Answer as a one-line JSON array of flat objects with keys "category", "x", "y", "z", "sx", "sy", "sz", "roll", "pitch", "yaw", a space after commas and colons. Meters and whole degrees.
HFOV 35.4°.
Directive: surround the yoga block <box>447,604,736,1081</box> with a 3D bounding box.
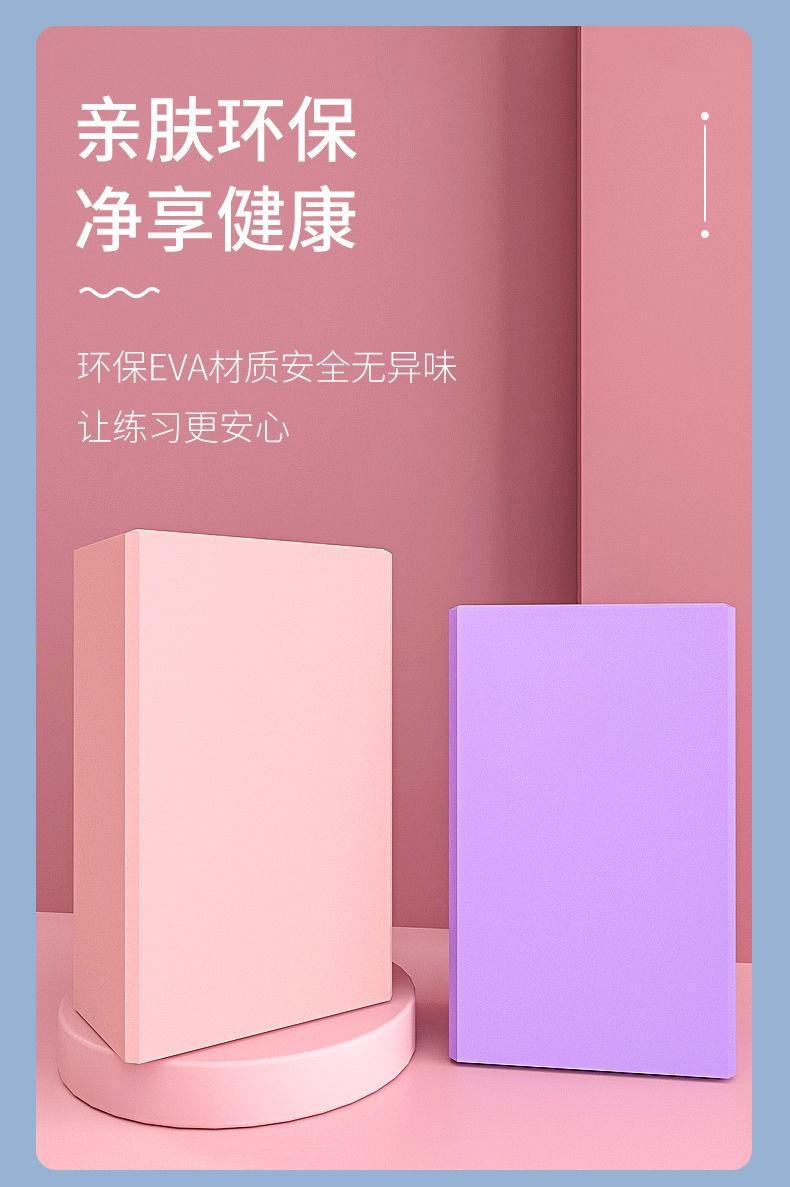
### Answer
[{"category": "yoga block", "x": 0.166, "y": 0.167, "z": 0.911, "sx": 0.244, "sy": 0.347, "sz": 0.217, "roll": 0, "pitch": 1, "yaw": 13}]
